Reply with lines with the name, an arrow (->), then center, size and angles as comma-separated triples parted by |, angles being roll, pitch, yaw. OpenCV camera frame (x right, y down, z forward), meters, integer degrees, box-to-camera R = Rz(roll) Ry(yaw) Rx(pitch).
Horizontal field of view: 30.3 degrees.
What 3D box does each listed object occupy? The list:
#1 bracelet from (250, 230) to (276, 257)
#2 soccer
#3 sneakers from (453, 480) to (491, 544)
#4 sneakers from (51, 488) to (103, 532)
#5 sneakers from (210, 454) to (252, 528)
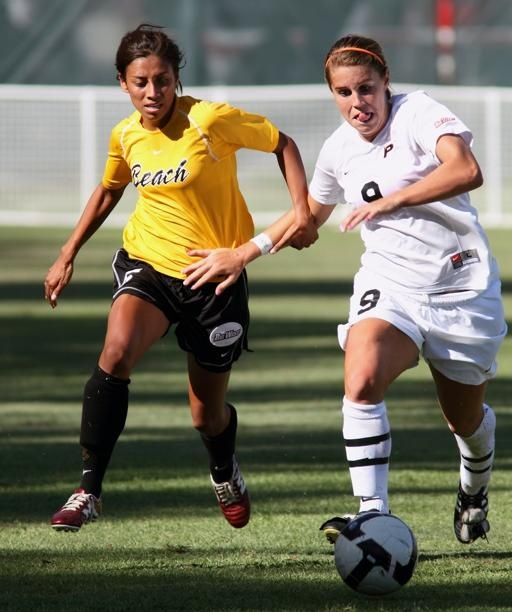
bracelet -> 0.022, -0.238, 3.608 | 0.080, 0.083, 0.082 | -24, 15, -11
soccer -> 0.377, 0.735, 2.892 | 0.270, 0.218, 0.272 | -7, 25, 11
sneakers -> 0.804, 0.767, 3.519 | 0.101, 0.213, 0.107 | 0, -4, 10
sneakers -> -0.593, 0.688, 3.129 | 0.091, 0.085, 0.222 | 0, -3, 14
sneakers -> -0.102, 0.770, 3.845 | 0.094, 0.104, 0.243 | -25, 49, 10
